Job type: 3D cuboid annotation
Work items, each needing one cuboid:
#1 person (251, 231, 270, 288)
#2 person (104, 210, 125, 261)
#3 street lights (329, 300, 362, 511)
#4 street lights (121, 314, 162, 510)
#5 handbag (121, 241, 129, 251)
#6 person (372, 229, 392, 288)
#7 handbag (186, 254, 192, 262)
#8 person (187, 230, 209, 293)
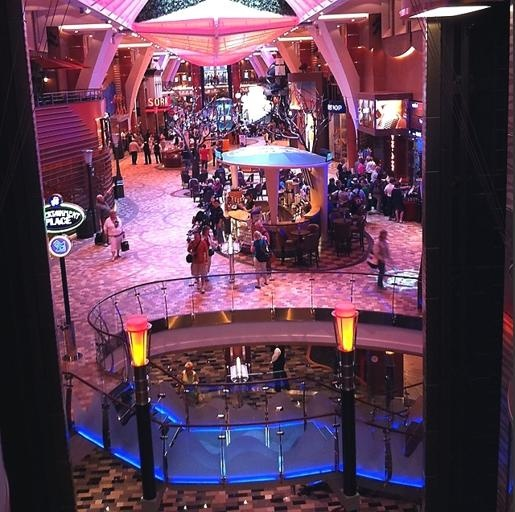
[{"bbox_3d":[0.067,0.000,11.276,0.372,1.091,1.138,-3,15,-1],"label":"person"},{"bbox_3d":[-4.015,-0.634,13.936,0.525,1.341,0.612,-7,14,-18],"label":"person"},{"bbox_3d":[0.993,1.659,5.593,0.277,2.488,0.529,0,13,12],"label":"street lights"},{"bbox_3d":[-1.226,1.721,5.419,0.237,2.290,0.299,-6,13,-16],"label":"street lights"},{"bbox_3d":[-3.819,-0.298,14.267,0.198,0.332,0.125,-2,6,-19],"label":"handbag"},{"bbox_3d":[2.698,-0.111,10.894,0.352,1.148,1.531,1,16,14],"label":"person"},{"bbox_3d":[-1.558,0.033,11.280,0.114,0.166,0.144,-1,-18,-1],"label":"handbag"},{"bbox_3d":[-1.319,0.059,11.104,0.453,1.153,1.262,-4,15,-6],"label":"person"}]
